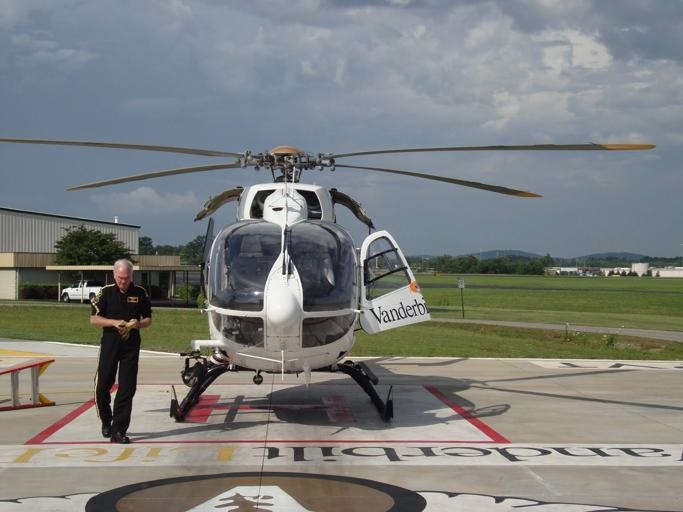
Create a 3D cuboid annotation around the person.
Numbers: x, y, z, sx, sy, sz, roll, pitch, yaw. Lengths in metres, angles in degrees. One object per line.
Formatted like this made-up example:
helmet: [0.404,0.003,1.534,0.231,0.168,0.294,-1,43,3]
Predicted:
person: [-3.125,1.361,10.128,0.810,2.601,0.588,-2,0,-13]
